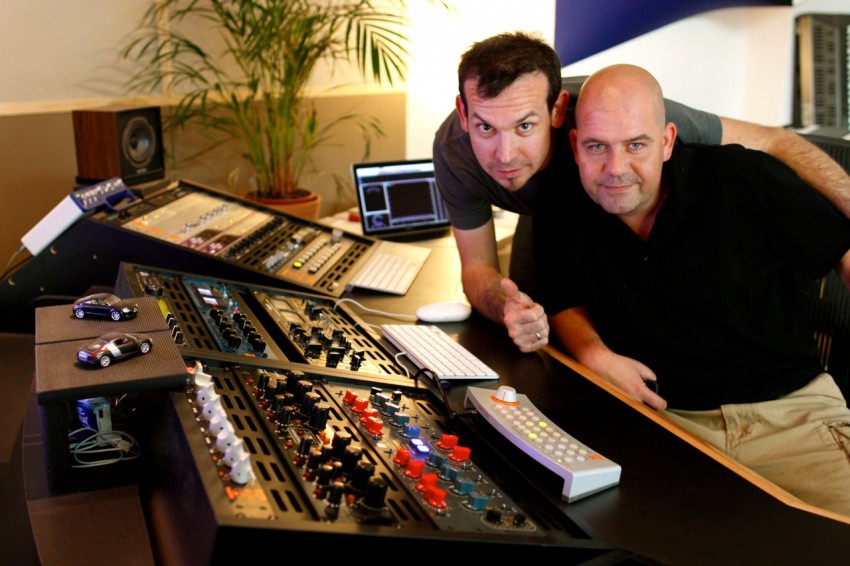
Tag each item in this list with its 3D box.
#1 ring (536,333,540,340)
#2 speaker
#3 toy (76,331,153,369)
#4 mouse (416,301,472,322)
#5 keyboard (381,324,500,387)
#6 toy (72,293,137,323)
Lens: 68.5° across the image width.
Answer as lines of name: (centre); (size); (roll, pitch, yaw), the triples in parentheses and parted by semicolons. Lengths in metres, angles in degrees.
ring: (0.342, 0.158, 1.888); (0.015, 0.021, 0.007); (-1, 14, 7)
speaker: (-1.324, -0.592, 2.722); (0.227, 0.293, 0.323); (3, 17, 4)
toy: (-0.718, 0.139, 1.449); (0.136, 0.037, 0.071); (-19, 33, -36)
mouse: (0.062, 0.085, 2.078); (0.122, 0.037, 0.085); (0, 5, -11)
keyboard: (0.025, 0.197, 1.883); (0.226, 0.115, 0.394); (-9, 15, -26)
toy: (-0.823, 0.061, 1.622); (0.137, 0.042, 0.076); (0, 20, -6)
